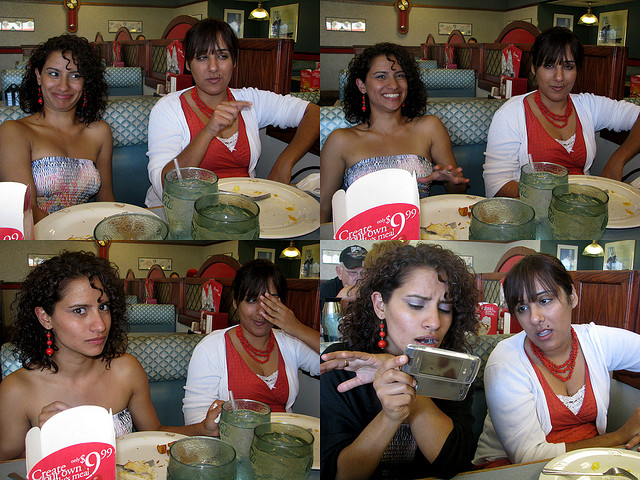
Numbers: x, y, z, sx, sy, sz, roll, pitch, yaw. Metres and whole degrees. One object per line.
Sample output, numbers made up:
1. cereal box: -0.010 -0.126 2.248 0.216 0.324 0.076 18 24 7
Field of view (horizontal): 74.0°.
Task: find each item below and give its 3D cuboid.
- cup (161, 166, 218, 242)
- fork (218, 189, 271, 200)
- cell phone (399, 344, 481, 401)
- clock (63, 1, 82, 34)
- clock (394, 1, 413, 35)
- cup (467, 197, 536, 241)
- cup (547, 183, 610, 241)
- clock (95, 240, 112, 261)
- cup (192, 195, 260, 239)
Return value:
1. cup: -0.273 -0.058 0.838 0.080 0.123 0.076 6 14 -1
2. fork: -0.170 -0.099 0.929 0.103 0.016 0.014 10 31 -20
3. cell phone: 0.248 0.279 0.901 0.164 0.126 0.017 9 28 -8
4. clock: -0.520 -0.468 0.894 0.033 0.058 0.017 -3 9 -18
5. clock: 0.184 -0.492 0.940 0.048 0.068 0.006 -5 10 -28
6. cup: 0.368 -0.043 0.859 0.099 0.080 0.103 -1 18 0
7. cup: 0.535 -0.041 0.887 0.100 0.127 0.110 -1 23 0
8. clock: -0.523 0.027 1.025 0.031 0.061 0.076 -5 11 -28
9. cup: -0.174 -0.064 0.791 0.092 0.074 0.096 1 17 0
